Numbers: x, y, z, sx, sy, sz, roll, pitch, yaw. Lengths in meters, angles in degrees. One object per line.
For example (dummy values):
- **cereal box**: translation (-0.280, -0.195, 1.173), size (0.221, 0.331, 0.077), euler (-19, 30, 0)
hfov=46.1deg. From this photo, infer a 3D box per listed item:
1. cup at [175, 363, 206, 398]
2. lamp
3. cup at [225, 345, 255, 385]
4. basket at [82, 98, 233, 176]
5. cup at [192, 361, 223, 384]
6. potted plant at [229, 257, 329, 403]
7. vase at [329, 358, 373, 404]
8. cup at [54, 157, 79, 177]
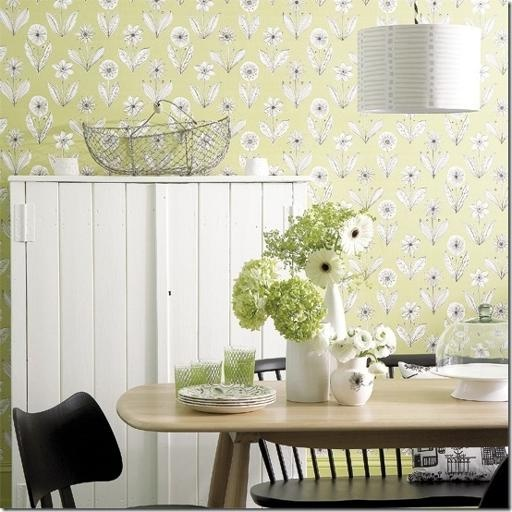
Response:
- **cup**: translation (-0.178, 0.345, 1.658), size (0.063, 0.089, 0.077), euler (0, -3, 0)
- **lamp**: translation (0.487, -0.558, 1.788), size (0.344, 0.283, 0.228), euler (3, -2, -19)
- **cup**: translation (-0.059, 0.310, 1.727), size (0.095, 0.116, 0.099), euler (7, -13, 2)
- **basket**: translation (-0.416, -0.434, 2.586), size (0.476, 0.303, 0.378), euler (-3, 2, -10)
- **cup**: translation (-0.131, 0.318, 1.682), size (0.062, 0.055, 0.055), euler (-2, -4, 43)
- **potted plant**: translation (0.086, 0.181, 1.638), size (0.248, 0.446, 0.238), euler (0, 9, 25)
- **vase**: translation (0.263, 0.326, 1.626), size (0.103, 0.150, 0.110), euler (-1, 3, -33)
- **cup**: translation (-0.779, -0.361, 2.475), size (0.090, 0.083, 0.096), euler (0, -1, 0)
